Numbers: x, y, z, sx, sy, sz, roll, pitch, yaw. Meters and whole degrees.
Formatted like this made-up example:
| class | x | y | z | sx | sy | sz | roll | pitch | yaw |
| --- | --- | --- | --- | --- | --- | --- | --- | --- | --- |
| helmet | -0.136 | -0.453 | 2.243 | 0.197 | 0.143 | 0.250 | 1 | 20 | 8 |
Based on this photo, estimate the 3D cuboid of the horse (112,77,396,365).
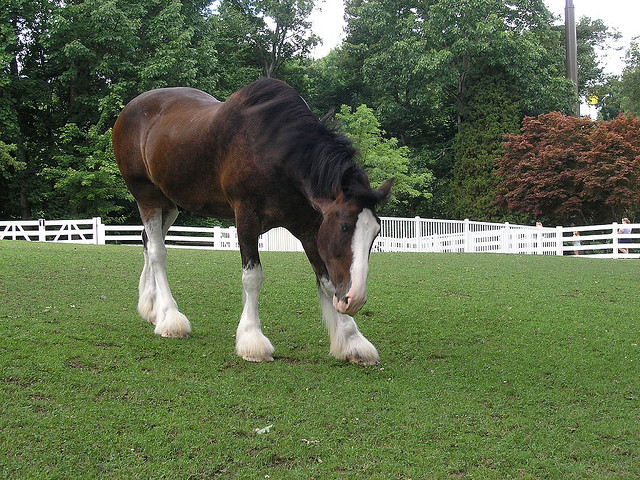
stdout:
| class | x | y | z | sx | sy | sz | roll | pitch | yaw |
| --- | --- | --- | --- | --- | --- | --- | --- | --- | --- |
| horse | -1.327 | -0.366 | 8.338 | 5.501 | 3.711 | 1.788 | 10 | 9 | 43 |
